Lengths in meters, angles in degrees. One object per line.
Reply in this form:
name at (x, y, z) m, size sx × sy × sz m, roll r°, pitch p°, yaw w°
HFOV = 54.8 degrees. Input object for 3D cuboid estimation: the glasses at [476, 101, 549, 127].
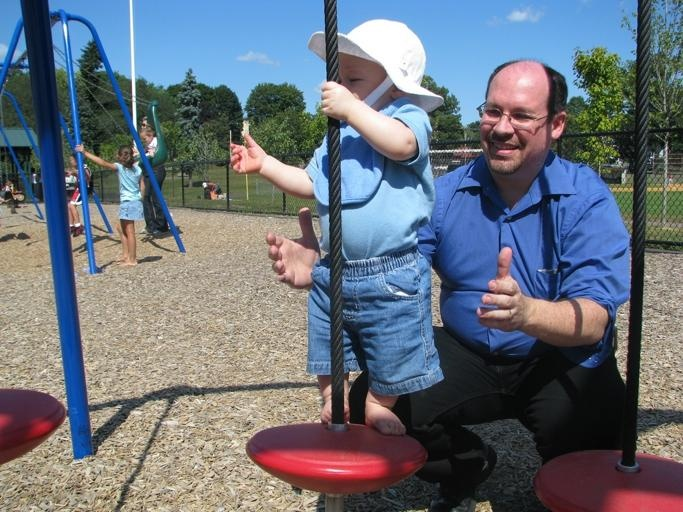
glasses at (0.696, -0.576, 2.683) m, size 0.283 × 0.101 × 0.139 m, roll 4°, pitch 15°, yaw 21°

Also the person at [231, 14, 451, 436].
person at (0.113, -0.089, 2.380) m, size 0.769 × 1.504 × 0.612 m, roll -10°, pitch 17°, yaw -31°

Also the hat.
hat at (0.171, -0.755, 2.527) m, size 0.485 × 0.245 × 0.515 m, roll 16°, pitch 6°, yaw -29°
